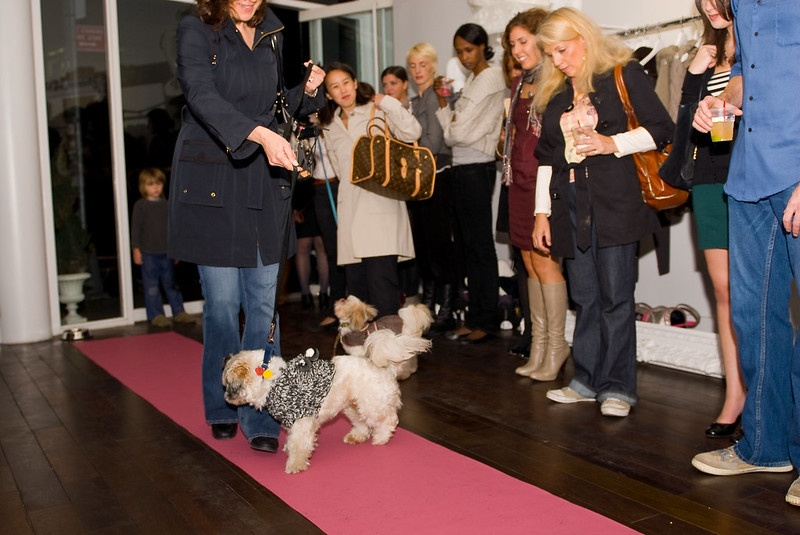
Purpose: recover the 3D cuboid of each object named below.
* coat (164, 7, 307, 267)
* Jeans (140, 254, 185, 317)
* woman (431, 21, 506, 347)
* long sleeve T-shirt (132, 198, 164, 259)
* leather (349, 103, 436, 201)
[{"bbox_3d":[-0.814,-0.622,3.391,0.702,1.285,0.468,-6,11,-21],"label":"coat"},{"bbox_3d":[-2.235,0.114,6.512,0.323,0.827,0.249,-1,43,-10],"label":"Jeans"},{"bbox_3d":[0.505,-0.672,5.414,0.528,2.364,0.589,2,9,11],"label":"woman"},{"bbox_3d":[-2.324,-0.358,6.322,0.468,0.595,0.300,-1,4,-22],"label":"long sleeve T-shirt"},{"bbox_3d":[-0.073,-0.803,4.889,0.587,0.668,0.259,10,2,-37],"label":"leather"}]
